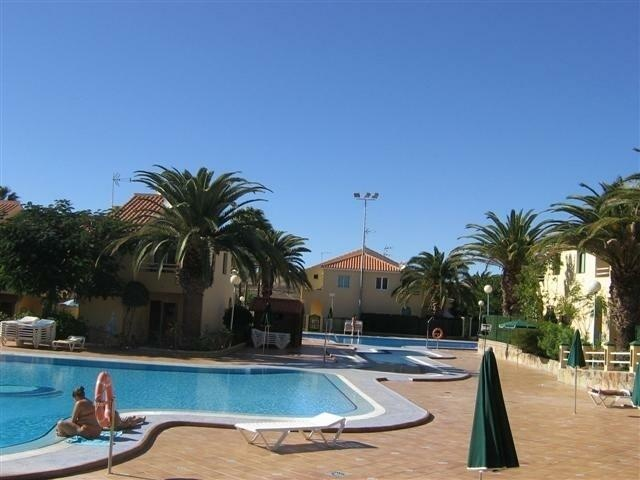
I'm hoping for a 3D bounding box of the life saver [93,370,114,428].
[{"bbox_3d":[-4.528,3.402,10.651,0.325,1.212,0.937,4,-9,-24],"label":"life saver"}]

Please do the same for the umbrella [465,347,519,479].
[{"bbox_3d":[2.965,2.977,8.872,0.864,2.092,0.438,2,-8,-15],"label":"umbrella"}]

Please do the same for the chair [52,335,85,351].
[{"bbox_3d":[-12.137,5.116,24.699,0.892,0.469,0.931,2,-4,-7],"label":"chair"}]

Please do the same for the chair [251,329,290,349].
[{"bbox_3d":[-2.997,6.140,31.262,1.654,0.842,1.331,3,-6,-3],"label":"chair"}]

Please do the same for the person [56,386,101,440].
[{"bbox_3d":[-5.291,3.765,11.112,0.836,1.087,0.823,0,-6,2],"label":"person"}]

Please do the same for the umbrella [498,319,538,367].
[{"bbox_3d":[11.120,6.047,29.110,2.335,2.657,2.825,-2,-3,28],"label":"umbrella"}]
